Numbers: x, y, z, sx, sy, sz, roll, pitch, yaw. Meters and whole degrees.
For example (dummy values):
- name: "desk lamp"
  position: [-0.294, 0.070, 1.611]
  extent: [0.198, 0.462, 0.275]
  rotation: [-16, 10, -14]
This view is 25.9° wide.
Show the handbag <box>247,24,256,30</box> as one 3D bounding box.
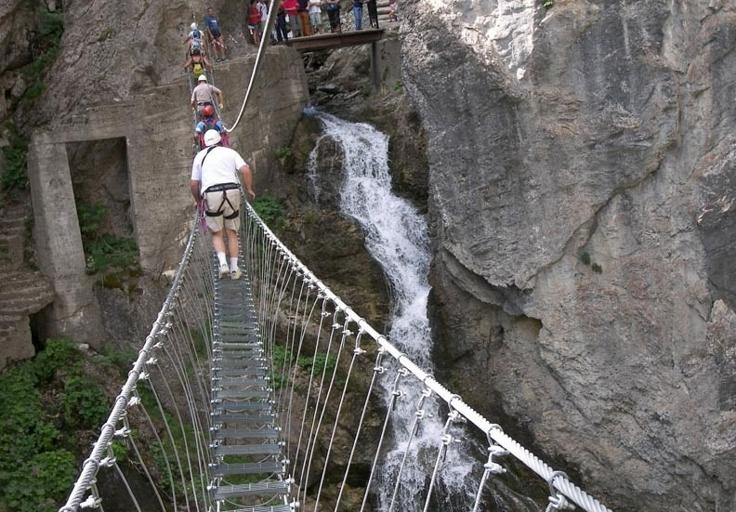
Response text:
- name: "handbag"
  position: [-1.851, -3.654, 25.611]
  extent: [0.086, 0.069, 0.075]
  rotation: [-5, -10, -34]

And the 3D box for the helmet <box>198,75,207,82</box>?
- name: "helmet"
  position: [-2.367, -2.529, 22.922]
  extent: [0.099, 0.096, 0.144]
  rotation: [-1, 8, -6]

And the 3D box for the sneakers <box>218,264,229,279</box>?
- name: "sneakers"
  position: [-1.890, 0.205, 21.145]
  extent: [0.108, 0.185, 0.114]
  rotation: [15, 36, -13]

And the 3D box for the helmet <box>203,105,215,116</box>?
- name: "helmet"
  position: [-2.234, -2.035, 22.501]
  extent: [0.113, 0.128, 0.150]
  rotation: [-2, -8, 3]

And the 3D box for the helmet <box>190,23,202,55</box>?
- name: "helmet"
  position: [-2.528, -3.232, 23.649]
  extent: [0.177, 0.413, 0.593]
  rotation: [-4, 18, -5]

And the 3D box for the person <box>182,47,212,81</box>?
- name: "person"
  position: [-2.615, -2.804, 23.548]
  extent: [0.381, 0.407, 0.721]
  rotation: [-6, 16, -15]

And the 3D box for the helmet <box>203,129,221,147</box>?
- name: "helmet"
  position: [-2.054, -1.533, 21.173]
  extent: [0.183, 0.189, 0.246]
  rotation: [-9, 43, 9]

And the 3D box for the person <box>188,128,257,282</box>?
- name: "person"
  position: [-1.903, -0.656, 21.132]
  extent: [0.816, 1.875, 0.524]
  rotation: [-2, 17, 3]
